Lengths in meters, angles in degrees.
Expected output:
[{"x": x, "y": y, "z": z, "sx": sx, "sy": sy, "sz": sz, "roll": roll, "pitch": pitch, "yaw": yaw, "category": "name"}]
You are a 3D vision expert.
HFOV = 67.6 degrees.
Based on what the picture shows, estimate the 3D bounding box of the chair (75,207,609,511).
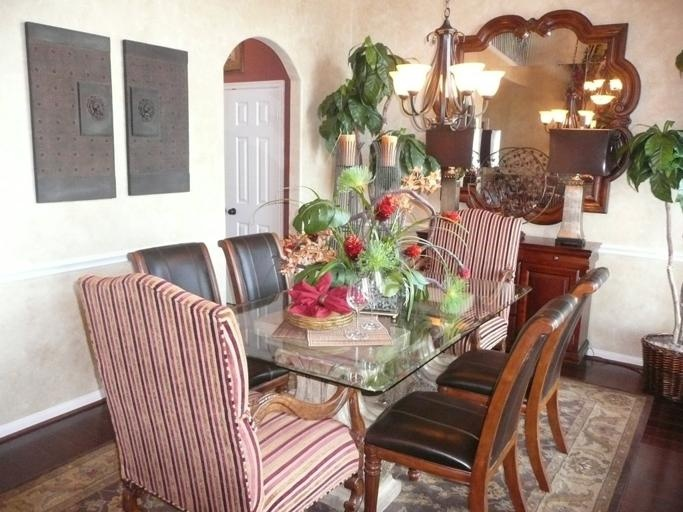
[{"x": -0.091, "y": 0.509, "z": 2.420, "sx": 1.092, "sy": 1.140, "sz": 1.764, "roll": 8, "pitch": 15, "yaw": 36, "category": "chair"}]

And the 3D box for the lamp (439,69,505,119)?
[{"x": 0.746, "y": -0.921, "z": 2.880, "sx": 0.309, "sy": 0.273, "sz": 0.318, "roll": 4, "pitch": 6, "yaw": -14, "category": "lamp"}]

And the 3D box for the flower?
[{"x": 0.208, "y": -0.033, "z": 2.526, "sx": 1.001, "sy": 0.593, "sz": 0.893, "roll": -6, "pitch": 32, "yaw": -44, "category": "flower"}]

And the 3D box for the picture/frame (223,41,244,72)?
[{"x": -1.176, "y": -2.150, "z": 5.513, "sx": 0.263, "sy": 0.279, "sz": 0.076, "roll": 7, "pitch": 15, "yaw": 31, "category": "picture/frame"}]

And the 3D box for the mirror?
[{"x": 1.670, "y": -1.146, "z": 4.162, "sx": 1.700, "sy": 1.823, "sz": 0.074, "roll": 17, "pitch": 20, "yaw": 30, "category": "mirror"}]
